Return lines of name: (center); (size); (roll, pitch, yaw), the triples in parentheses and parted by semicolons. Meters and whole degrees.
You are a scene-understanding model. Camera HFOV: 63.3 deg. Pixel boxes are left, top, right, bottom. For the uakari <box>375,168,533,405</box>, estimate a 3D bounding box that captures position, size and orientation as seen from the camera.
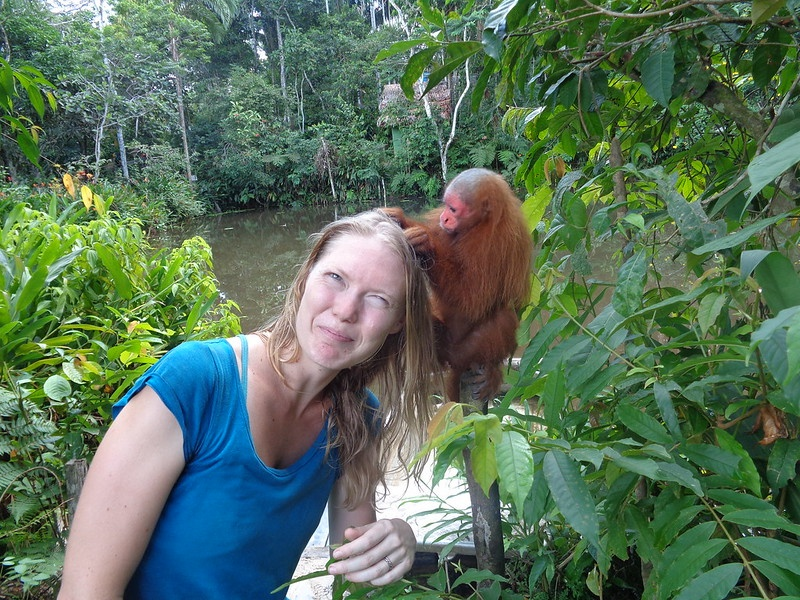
uakari: (0.148, -0.032, 1.467); (0.280, 0.517, 0.131); (2, 8, 2)
